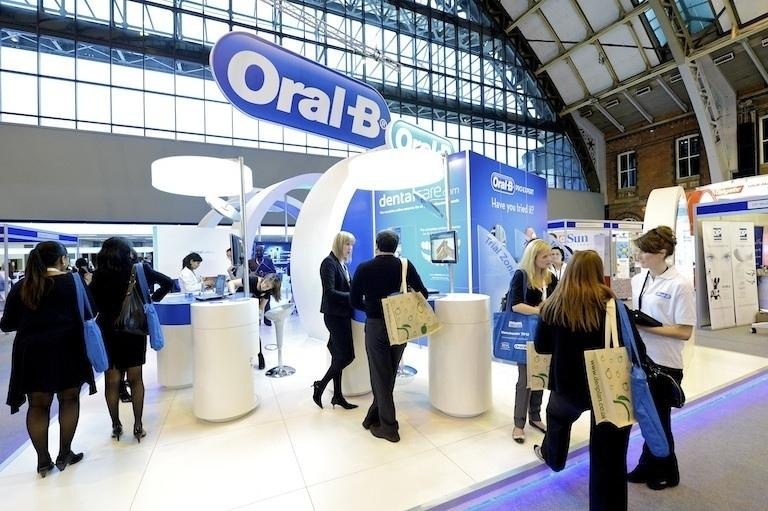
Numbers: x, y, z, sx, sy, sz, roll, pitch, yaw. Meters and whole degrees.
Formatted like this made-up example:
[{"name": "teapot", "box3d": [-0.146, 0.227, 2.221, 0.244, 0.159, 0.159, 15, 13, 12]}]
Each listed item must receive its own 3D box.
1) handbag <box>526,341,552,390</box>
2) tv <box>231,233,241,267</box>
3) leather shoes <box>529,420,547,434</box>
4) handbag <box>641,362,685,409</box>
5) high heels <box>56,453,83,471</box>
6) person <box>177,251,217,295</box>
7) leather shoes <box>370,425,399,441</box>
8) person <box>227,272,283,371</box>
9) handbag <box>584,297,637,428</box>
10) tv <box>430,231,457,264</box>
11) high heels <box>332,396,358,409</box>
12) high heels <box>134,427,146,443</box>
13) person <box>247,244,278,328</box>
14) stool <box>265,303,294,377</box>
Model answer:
[{"name": "handbag", "box3d": [2.025, 1.457, 6.787, 0.535, 0.560, 0.194, 13, -14, -41]}, {"name": "tv", "box3d": [-2.238, -0.093, 7.747, 0.178, 0.512, 0.512, 0, 2, -12]}, {"name": "leather shoes", "box3d": [2.132, 2.358, 7.135, 0.096, 0.110, 0.266, 2, -2, -39]}, {"name": "handbag", "box3d": [3.368, 1.516, 6.238, 0.433, 0.631, 0.219, -22, -4, -25]}, {"name": "high heels", "box3d": [-4.161, 2.682, 6.813, 0.152, 0.127, 0.290, 1, 5, 22]}, {"name": "person", "box3d": [-3.146, 0.446, 8.581, 0.523, 0.956, 0.504, 1, 15, -28]}, {"name": "leather shoes", "box3d": [0.009, 2.410, 7.100, 0.407, 0.173, 0.159, 12, 9, 36]}, {"name": "person", "box3d": [-2.362, 1.120, 8.979, 0.842, 1.860, 0.882, 7, 11, -33]}, {"name": "handbag", "box3d": [2.739, 1.276, 6.256, 0.586, 1.433, 0.412, 5, -14, -24]}, {"name": "tv", "box3d": [0.891, -0.132, 7.666, 0.480, 0.515, 0.175, 0, 3, 41]}, {"name": "high heels", "box3d": [-0.612, 2.163, 7.676, 0.440, 0.219, 0.156, -3, -1, -1]}, {"name": "high heels", "box3d": [-3.370, 2.460, 7.080, 0.134, 0.137, 0.173, 1, -9, -30]}, {"name": "person", "box3d": [-2.634, 0.610, 10.898, 0.502, 1.570, 0.480, 5, 13, 13]}, {"name": "stool", "box3d": [-1.815, 1.377, 8.813, 0.493, 1.173, 0.969, -2, 1, -16]}]
